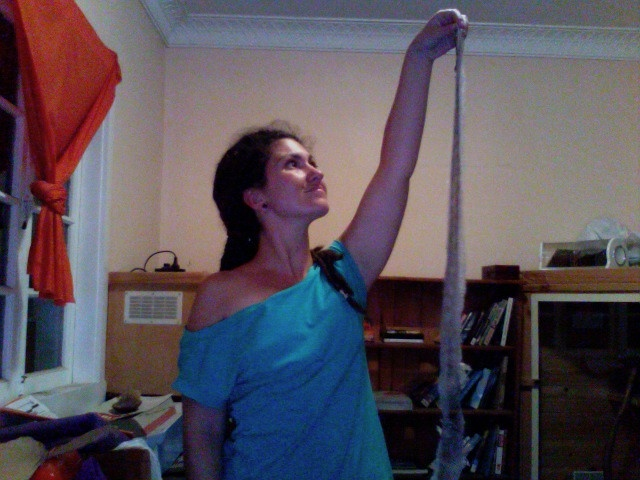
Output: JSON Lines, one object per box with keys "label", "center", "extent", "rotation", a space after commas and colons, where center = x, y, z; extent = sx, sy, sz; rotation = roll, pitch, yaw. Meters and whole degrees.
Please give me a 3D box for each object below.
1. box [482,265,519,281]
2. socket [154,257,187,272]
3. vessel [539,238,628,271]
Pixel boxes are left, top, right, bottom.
{"label": "box", "center": [1.092, 0.198, 3.716], "extent": [0.205, 0.099, 0.276], "rotation": [-2, -5, 11]}
{"label": "socket", "center": [-0.838, 0.134, 3.460], "extent": [0.170, 0.087, 0.098], "rotation": [0, -3, -18]}
{"label": "vessel", "center": [1.453, 0.080, 3.423], "extent": [0.452, 0.154, 0.147], "rotation": [-6, -7, 44]}
